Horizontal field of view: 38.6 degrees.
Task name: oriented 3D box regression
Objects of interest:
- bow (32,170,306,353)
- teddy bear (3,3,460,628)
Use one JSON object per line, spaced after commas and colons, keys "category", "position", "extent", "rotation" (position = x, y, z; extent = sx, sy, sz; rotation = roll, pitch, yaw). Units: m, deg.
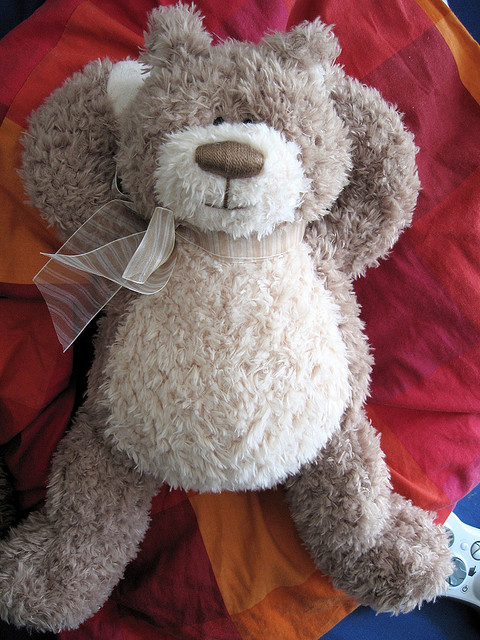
{"category": "bow", "position": [-0.131, -0.079, 0.780], "extent": [0.238, 0.190, 0.071], "rotation": [-27, 104, 5]}
{"category": "teddy bear", "position": [0.002, -0.025, 0.906], "extent": [0.665, 0.263, 0.657], "rotation": [-2, 92, 8]}
